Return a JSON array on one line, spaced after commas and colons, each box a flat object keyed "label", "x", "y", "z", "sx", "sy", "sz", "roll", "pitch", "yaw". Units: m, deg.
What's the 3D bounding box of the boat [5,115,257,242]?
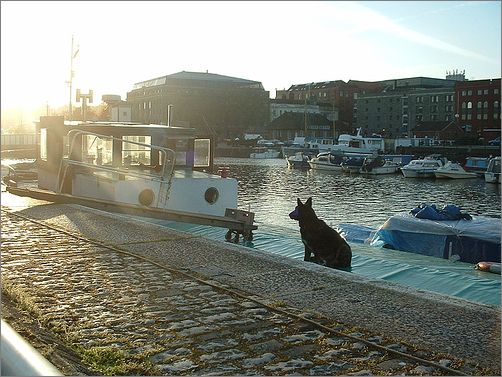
[{"label": "boat", "x": -5.436, "y": -0.889, "z": 17.064, "sx": 14.950, "sy": 4.915, "sz": 5.979, "roll": 5, "pitch": 6, "yaw": 34}]

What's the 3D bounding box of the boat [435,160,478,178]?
[{"label": "boat", "x": 29.343, "y": -2.359, "z": 55.260, "sx": 6.147, "sy": 1.486, "sz": 2.213, "roll": 1, "pitch": 0, "yaw": -4}]

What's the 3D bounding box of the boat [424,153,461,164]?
[{"label": "boat", "x": 33.265, "y": -5.362, "z": 68.250, "sx": 4.230, "sy": 1.247, "sz": 5.744, "roll": 7, "pitch": 6, "yaw": 37}]

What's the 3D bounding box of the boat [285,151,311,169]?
[{"label": "boat", "x": 9.062, "y": -5.235, "z": 72.877, "sx": 4.179, "sy": 2.905, "sz": 5.588, "roll": 3, "pitch": 5, "yaw": 6}]

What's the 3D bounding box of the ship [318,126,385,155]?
[{"label": "ship", "x": 20.797, "y": -8.816, "z": 77.593, "sx": 11.407, "sy": 3.481, "sz": 5.453, "roll": 3, "pitch": 5, "yaw": 11}]
